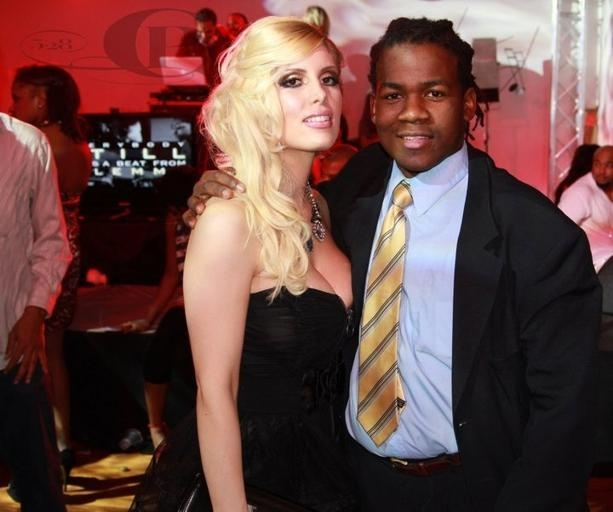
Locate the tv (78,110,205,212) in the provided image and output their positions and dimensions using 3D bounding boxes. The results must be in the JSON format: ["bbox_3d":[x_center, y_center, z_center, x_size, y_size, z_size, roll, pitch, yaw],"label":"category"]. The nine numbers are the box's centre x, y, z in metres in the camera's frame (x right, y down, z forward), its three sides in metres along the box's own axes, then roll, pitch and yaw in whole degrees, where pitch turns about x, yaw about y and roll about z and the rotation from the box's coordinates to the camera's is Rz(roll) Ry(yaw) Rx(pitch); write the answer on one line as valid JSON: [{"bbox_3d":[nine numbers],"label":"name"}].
[{"bbox_3d":[-1.550,-0.865,5.359,1.211,0.946,0.170,1,-2,-8],"label":"tv"}]

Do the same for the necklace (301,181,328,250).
[{"bbox_3d":[0.032,-0.153,2.334,0.044,0.113,0.335,-13,49,-1],"label":"necklace"}]
